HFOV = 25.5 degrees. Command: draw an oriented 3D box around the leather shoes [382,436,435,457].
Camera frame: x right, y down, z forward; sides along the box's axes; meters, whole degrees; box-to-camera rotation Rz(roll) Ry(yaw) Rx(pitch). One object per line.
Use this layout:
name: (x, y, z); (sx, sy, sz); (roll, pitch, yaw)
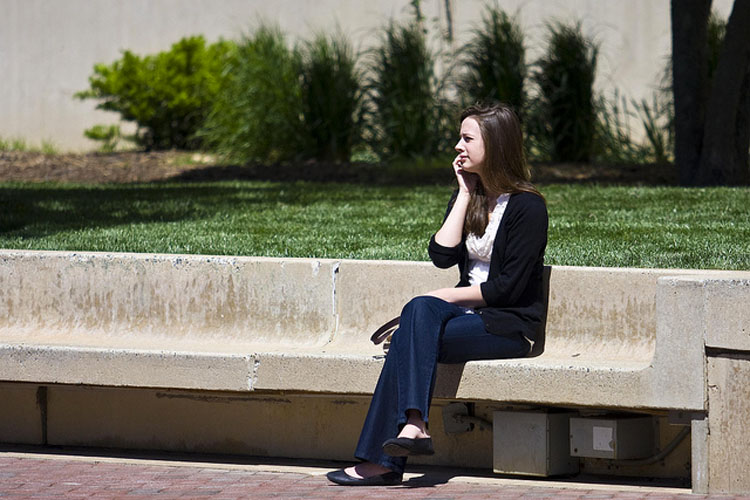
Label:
leather shoes: (0.219, 1.361, 11.394); (0.316, 0.121, 0.136); (11, -34, -14)

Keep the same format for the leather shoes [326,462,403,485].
leather shoes: (-0.081, 1.515, 11.533); (0.488, 0.141, 0.183); (5, -4, 0)
